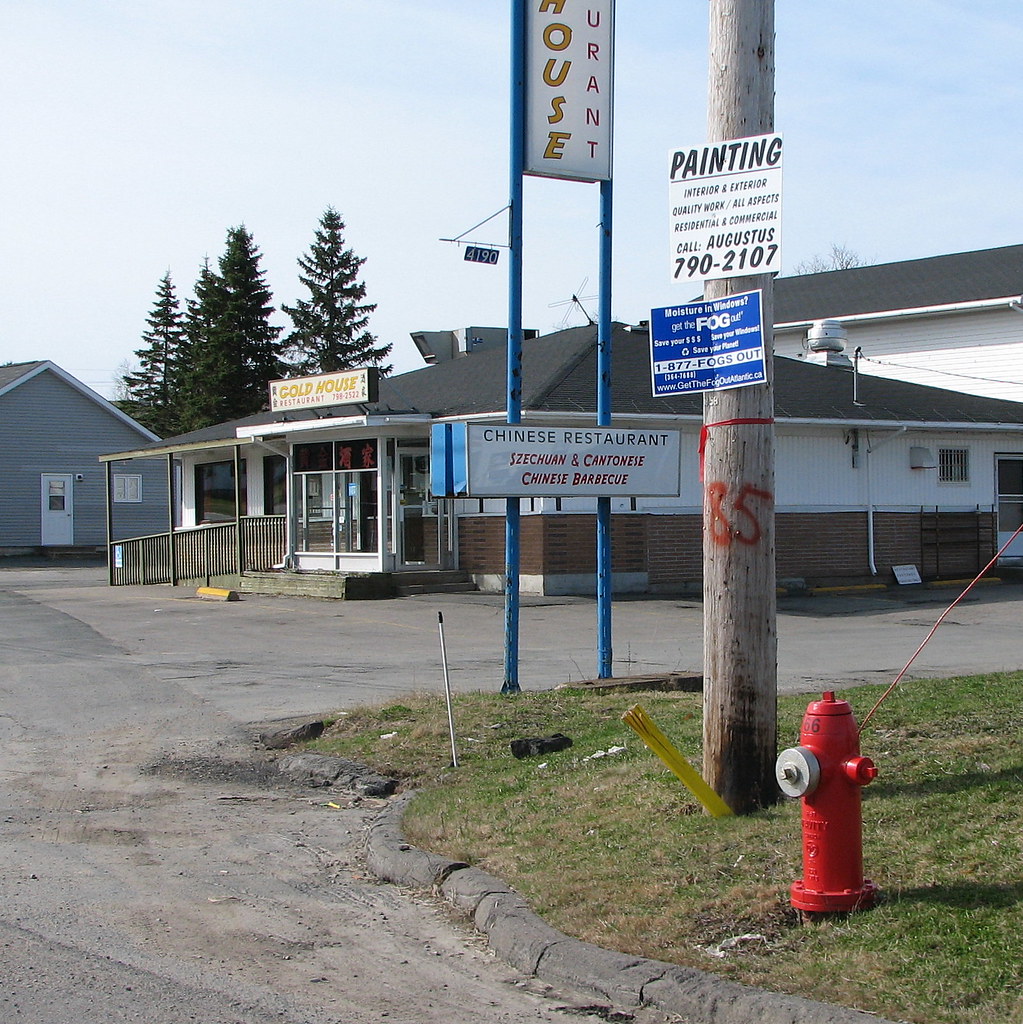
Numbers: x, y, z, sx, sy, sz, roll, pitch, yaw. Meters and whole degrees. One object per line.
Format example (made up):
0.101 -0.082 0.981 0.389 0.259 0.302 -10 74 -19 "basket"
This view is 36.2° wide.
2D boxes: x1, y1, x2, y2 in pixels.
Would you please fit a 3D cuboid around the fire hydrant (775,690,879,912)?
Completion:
1.385 1.280 6.950 0.385 0.953 0.336 -1 -2 -6 "fire hydrant"
